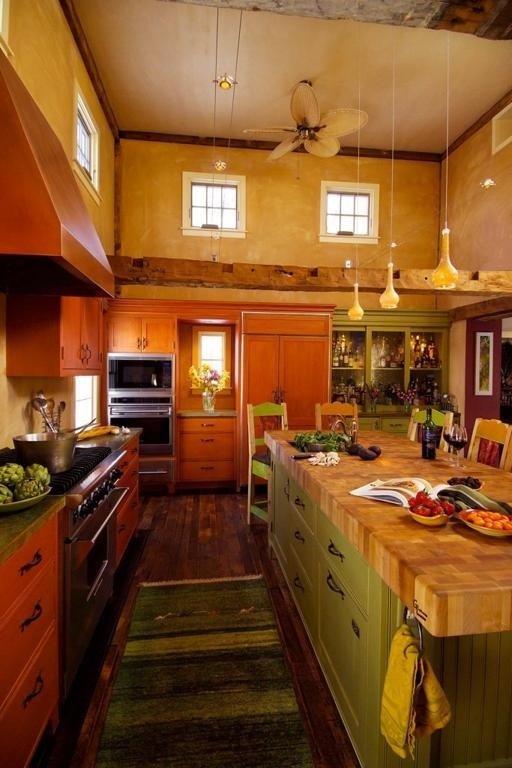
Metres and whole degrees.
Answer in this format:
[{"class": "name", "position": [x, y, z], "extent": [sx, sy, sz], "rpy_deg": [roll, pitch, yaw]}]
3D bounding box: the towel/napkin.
[{"class": "towel/napkin", "position": [0.394, 0.776, 1.365], "extent": [0.127, 0.296, 0.138], "rpy_deg": [-2, 4, -20]}]

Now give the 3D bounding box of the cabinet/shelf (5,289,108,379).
[{"class": "cabinet/shelf", "position": [-1.090, -0.271, 2.914], "extent": [0.158, 0.332, 0.507], "rpy_deg": [0, 2, 3]}]

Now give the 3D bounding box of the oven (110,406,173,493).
[{"class": "oven", "position": [-0.989, 0.613, 5.376], "extent": [0.641, 1.111, 0.676], "rpy_deg": [0, 1, -8]}]

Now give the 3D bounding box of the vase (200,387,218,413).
[{"class": "vase", "position": [-0.488, 0.195, 5.718], "extent": [0.182, 0.324, 0.199], "rpy_deg": [0, -2, -2]}]

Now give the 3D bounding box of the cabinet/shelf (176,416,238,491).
[{"class": "cabinet/shelf", "position": [-0.479, 0.647, 5.702], "extent": [0.733, 0.986, 0.595], "rpy_deg": [0, -2, -9]}]

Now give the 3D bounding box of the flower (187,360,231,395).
[{"class": "flower", "position": [-0.510, -0.021, 5.846], "extent": [0.364, 0.302, 0.340], "rpy_deg": [3, -4, -14]}]

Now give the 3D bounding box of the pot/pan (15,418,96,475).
[{"class": "pot/pan", "position": [-0.890, 0.277, 2.406], "extent": [0.186, 0.150, 0.354], "rpy_deg": [-6, -4, 39]}]

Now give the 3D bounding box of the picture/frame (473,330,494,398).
[{"class": "picture/frame", "position": [2.510, -0.215, 5.983], "extent": [0.275, 0.705, 0.090], "rpy_deg": [-3, 5, -31]}]
